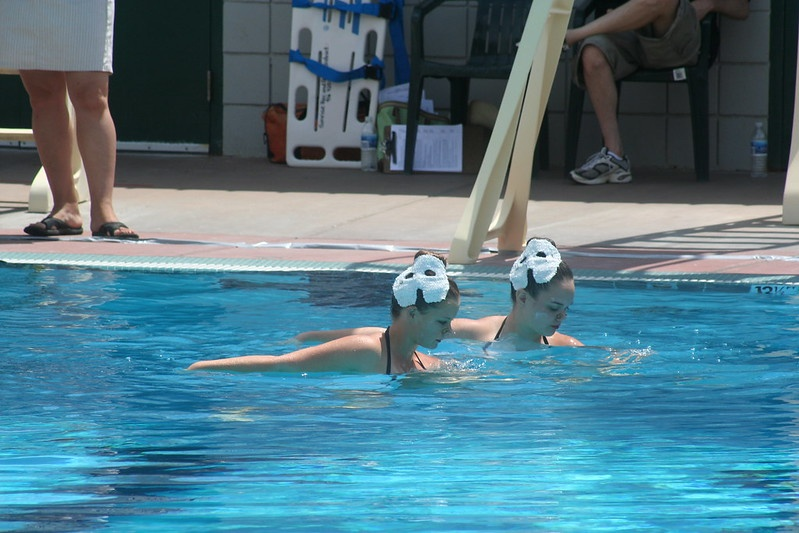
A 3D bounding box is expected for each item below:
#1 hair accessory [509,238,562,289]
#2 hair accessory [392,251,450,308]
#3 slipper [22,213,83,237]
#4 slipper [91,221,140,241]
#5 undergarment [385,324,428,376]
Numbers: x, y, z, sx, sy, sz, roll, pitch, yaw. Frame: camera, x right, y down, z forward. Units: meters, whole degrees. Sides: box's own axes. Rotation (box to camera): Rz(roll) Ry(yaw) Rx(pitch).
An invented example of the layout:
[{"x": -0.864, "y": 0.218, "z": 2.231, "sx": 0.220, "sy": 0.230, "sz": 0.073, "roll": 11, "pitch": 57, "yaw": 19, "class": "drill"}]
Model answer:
[{"x": 0.512, "y": -0.001, "z": 3.905, "sx": 0.190, "sy": 0.181, "sz": 0.214, "roll": 5, "pitch": 12, "yaw": 20, "class": "hair accessory"}, {"x": 0.069, "y": 0.051, "z": 3.638, "sx": 0.238, "sy": 0.161, "sz": 0.071, "roll": -3, "pitch": -25, "yaw": 16, "class": "hair accessory"}, {"x": -1.758, "y": -0.204, "z": 5.435, "sx": 0.117, "sy": 0.059, "sz": 0.266, "roll": 0, "pitch": -2, "yaw": 38, "class": "slipper"}, {"x": -1.426, "y": -0.181, "z": 5.364, "sx": 0.262, "sy": 0.080, "sz": 0.171, "roll": 0, "pitch": 10, "yaw": -3, "class": "slipper"}, {"x": 0.058, "y": 0.302, "z": 3.779, "sx": 0.196, "sy": 0.154, "sz": 0.125, "roll": 0, "pitch": -18, "yaw": 13, "class": "undergarment"}]
